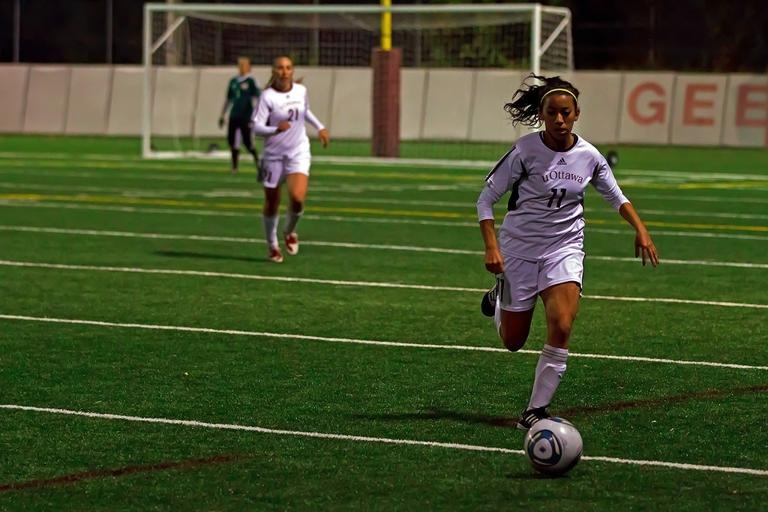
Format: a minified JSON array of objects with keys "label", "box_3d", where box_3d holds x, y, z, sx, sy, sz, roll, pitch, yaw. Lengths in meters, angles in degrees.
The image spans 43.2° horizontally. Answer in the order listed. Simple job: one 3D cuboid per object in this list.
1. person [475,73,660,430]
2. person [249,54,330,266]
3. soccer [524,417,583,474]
[{"label":"person","box_3d":[1.346,-0.045,7.785,1.188,2.784,0.728,2,4,6]},{"label":"person","box_3d":[-1.283,-1.259,12.516,0.834,2.704,1.324,1,4,-1]},{"label":"soccer","box_3d":[1.238,1.392,7.096,0.408,0.389,0.208,1,4,-5]}]
